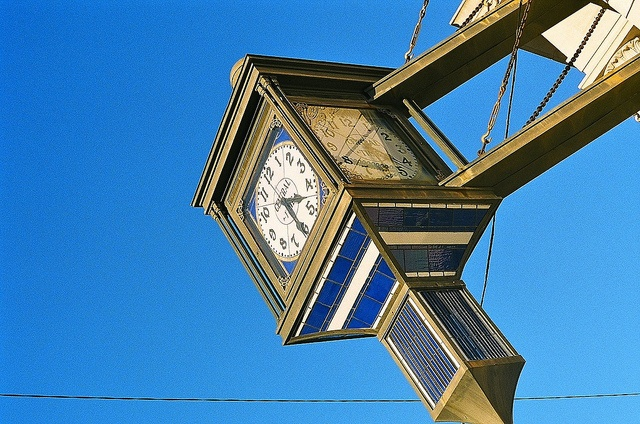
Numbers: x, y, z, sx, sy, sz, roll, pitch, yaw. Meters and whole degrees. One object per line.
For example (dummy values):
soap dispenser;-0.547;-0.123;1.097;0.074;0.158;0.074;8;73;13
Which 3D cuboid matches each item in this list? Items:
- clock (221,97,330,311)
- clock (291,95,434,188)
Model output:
clock;-0.376;-0.129;14.849;0.077;1.718;1.945;-11;-46;-45
clock;0.453;-0.784;14.765;1.435;1.669;0.111;-12;-34;-46
